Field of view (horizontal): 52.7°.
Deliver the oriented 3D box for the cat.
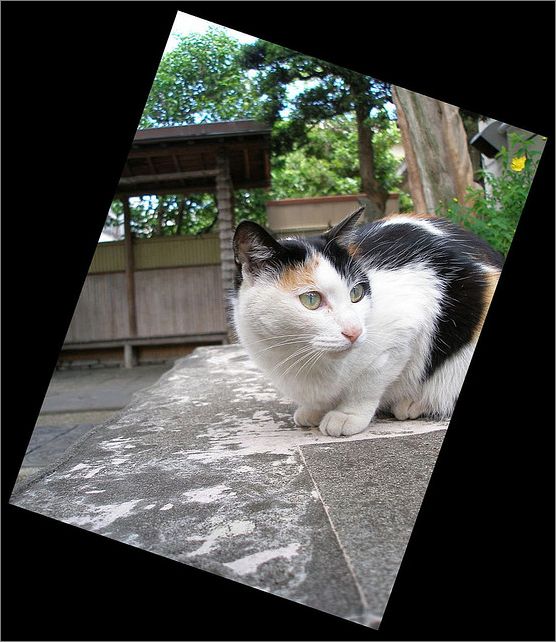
[{"bbox_3d":[0.255,-0.033,1.808,0.663,0.572,1.002,15,22,34],"label":"cat"}]
